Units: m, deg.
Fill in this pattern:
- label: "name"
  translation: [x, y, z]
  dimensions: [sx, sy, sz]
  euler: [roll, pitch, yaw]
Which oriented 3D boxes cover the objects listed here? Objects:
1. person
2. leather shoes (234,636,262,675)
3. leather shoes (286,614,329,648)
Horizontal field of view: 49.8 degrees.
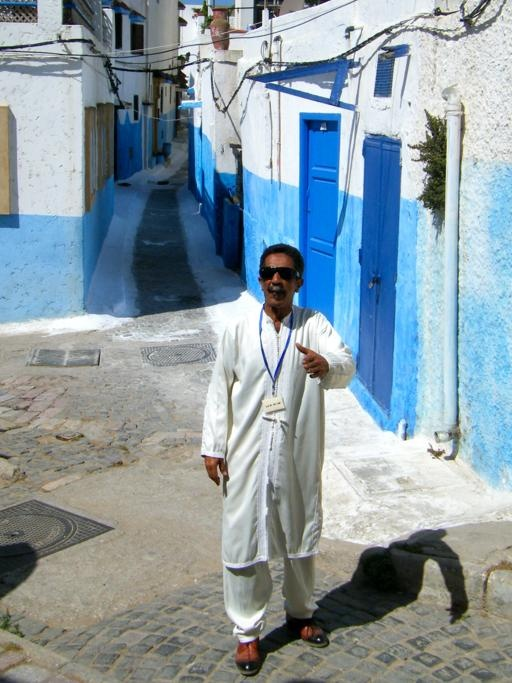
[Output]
- label: "person"
  translation: [0.104, 0.430, 2.164]
  dimensions: [0.664, 1.672, 0.447]
  euler: [-10, 0, -6]
- label: "leather shoes"
  translation: [-0.029, 1.169, 2.037]
  dimensions: [0.093, 0.119, 0.120]
  euler: [-10, 0, -11]
- label: "leather shoes"
  translation: [0.201, 1.198, 2.286]
  dimensions: [0.066, 0.088, 0.211]
  euler: [2, -16, -27]
